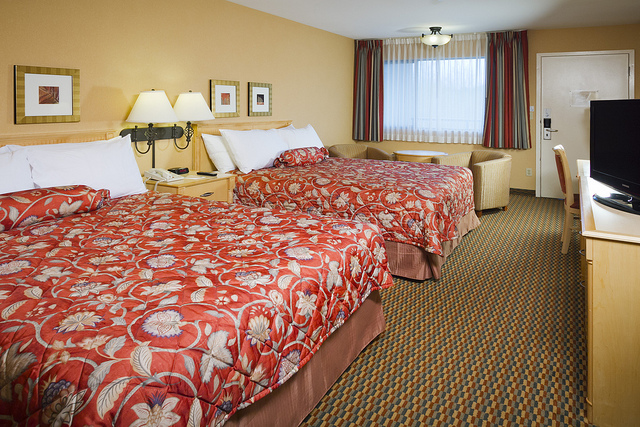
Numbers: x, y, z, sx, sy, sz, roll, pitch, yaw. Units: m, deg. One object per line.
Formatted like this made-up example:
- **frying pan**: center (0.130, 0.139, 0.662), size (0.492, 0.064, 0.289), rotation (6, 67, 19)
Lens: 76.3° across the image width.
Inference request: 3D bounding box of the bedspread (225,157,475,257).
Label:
- **bedspread**: center (0.290, -0.190, 4.480), size (2.581, 1.085, 2.409), rotation (7, 13, 30)

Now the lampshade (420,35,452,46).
- **lampshade**: center (1.821, -2.736, 6.377), size (0.388, 0.169, 0.376), rotation (3, 17, 22)

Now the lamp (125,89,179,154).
- **lamp**: center (-1.788, -1.006, 4.386), size (0.374, 0.760, 0.435), rotation (5, 10, 29)

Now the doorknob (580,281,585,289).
- **doorknob**: center (2.515, 0.668, 3.907), size (0.072, 0.021, 0.082), rotation (-3, 7, 21)

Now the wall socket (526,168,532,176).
- **wall socket**: center (3.711, -0.748, 7.230), size (0.115, 0.181, 0.017), rotation (2, 2, 32)

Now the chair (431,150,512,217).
- **chair**: center (2.312, -0.591, 6.296), size (1.032, 1.164, 1.142), rotation (7, 12, 28)

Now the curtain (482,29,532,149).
- **curtain**: center (3.292, -2.142, 7.096), size (0.763, 1.958, 0.271), rotation (2, 15, 20)

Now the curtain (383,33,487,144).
- **curtain**: center (2.132, -2.327, 7.700), size (1.875, 1.972, 0.172), rotation (4, 16, 25)

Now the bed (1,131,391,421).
- **bed**: center (-0.817, 0.381, 2.696), size (1.805, 1.139, 1.944), rotation (3, 7, 20)
